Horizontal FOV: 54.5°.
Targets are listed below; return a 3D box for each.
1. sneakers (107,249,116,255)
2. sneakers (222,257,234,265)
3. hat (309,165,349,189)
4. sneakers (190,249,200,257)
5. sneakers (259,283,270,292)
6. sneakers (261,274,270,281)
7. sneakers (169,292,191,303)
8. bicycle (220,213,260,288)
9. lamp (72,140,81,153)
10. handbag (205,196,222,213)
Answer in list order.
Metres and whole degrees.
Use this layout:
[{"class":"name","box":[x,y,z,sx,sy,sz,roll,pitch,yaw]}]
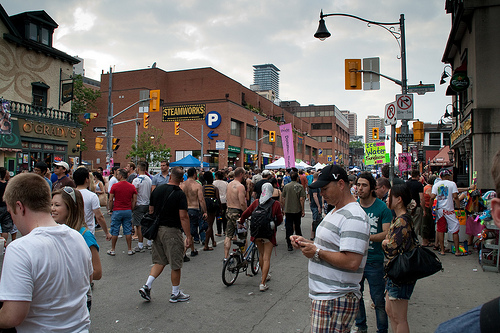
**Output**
[{"class":"sneakers","box":[-4.159,2.564,14.499,0.121,0.126,0.308,0,4,-32]},{"class":"sneakers","box":[-0.555,2.382,12.289,0.283,0.118,0.291,-6,-5,-6]},{"class":"hat","box":[1.425,0.185,8.591,0.552,0.322,0.368,-2,-2,-7]},{"class":"sneakers","box":[-1.690,2.621,14.742,0.115,0.136,0.336,1,5,15]},{"class":"sneakers","box":[0.329,3.002,12.010,0.110,0.138,0.312,1,6,21]},{"class":"sneakers","box":[0.431,2.870,12.484,0.090,0.114,0.275,7,13,13]},{"class":"sneakers","box":[-1.643,3.069,11.421,0.524,0.254,0.203,0,-1,-8]},{"class":"bicycle","box":[-0.402,2.450,13.140,0.813,1.064,1.679,0,2,24]},{"class":"lamp","box":[-11.736,-1.288,32.850,0.513,0.853,0.836,-2,12,-7]},{"class":"handbag","box":[-1.182,1.211,15.525,0.380,0.672,0.705,-5,-4,35]}]
